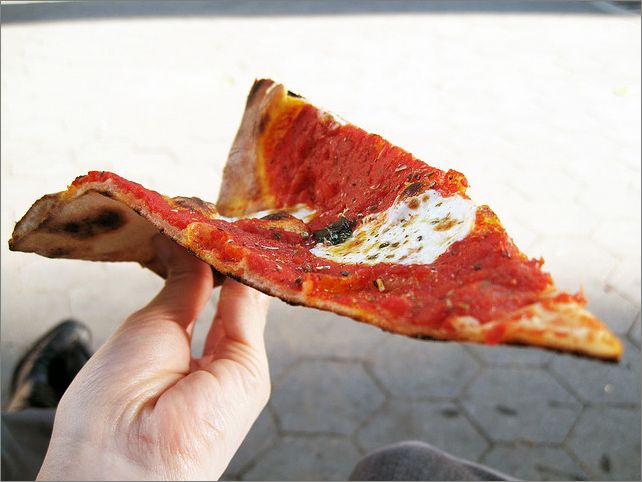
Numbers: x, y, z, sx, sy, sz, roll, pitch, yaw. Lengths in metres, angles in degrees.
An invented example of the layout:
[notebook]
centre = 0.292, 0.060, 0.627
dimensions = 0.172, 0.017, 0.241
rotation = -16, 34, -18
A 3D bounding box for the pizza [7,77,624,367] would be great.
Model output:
[pizza]
centre = 0.043, 0.212, 2.207
dimensions = 1.604, 0.510, 1.057
rotation = 25, 27, 31
